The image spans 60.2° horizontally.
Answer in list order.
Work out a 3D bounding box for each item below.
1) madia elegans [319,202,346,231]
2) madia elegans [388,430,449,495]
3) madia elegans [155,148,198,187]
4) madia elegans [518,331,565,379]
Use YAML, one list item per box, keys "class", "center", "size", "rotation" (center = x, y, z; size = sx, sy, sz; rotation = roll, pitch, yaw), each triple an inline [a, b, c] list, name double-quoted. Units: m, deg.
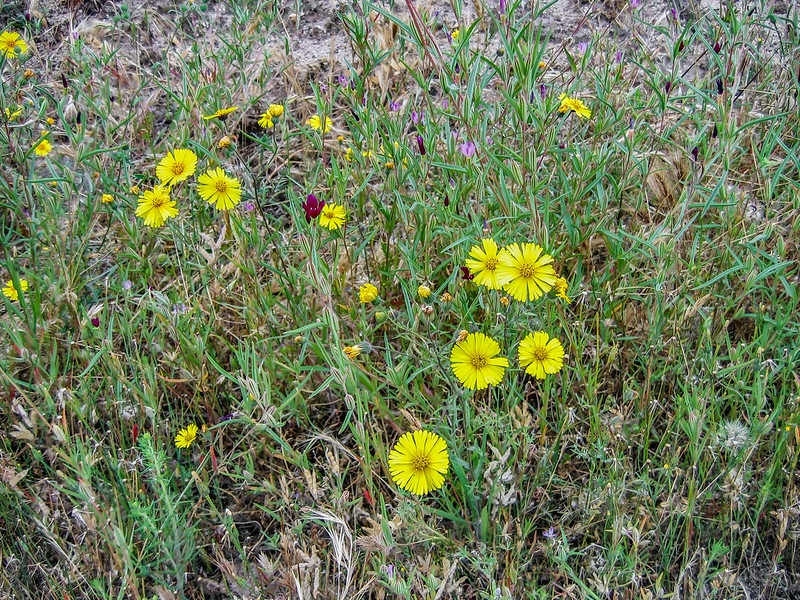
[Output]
- class: "madia elegans"
  center: [-0.307, -0.374, 3.160]
  size: [0.112, 0.028, 0.116]
  rotation: [44, 72, -10]
- class: "madia elegans"
  center: [0.076, 0.617, 2.599]
  size: [0.208, 0.245, 0.225]
  rotation: [-3, 77, 3]
- class: "madia elegans"
  center: [-1.133, -0.460, 3.254]
  size: [0.158, 0.184, 0.067]
  rotation: [11, 79, -1]
- class: "madia elegans"
  center: [0.562, 0.231, 2.799]
  size: [0.175, 0.175, 0.178]
  rotation: [-19, 77, 0]
